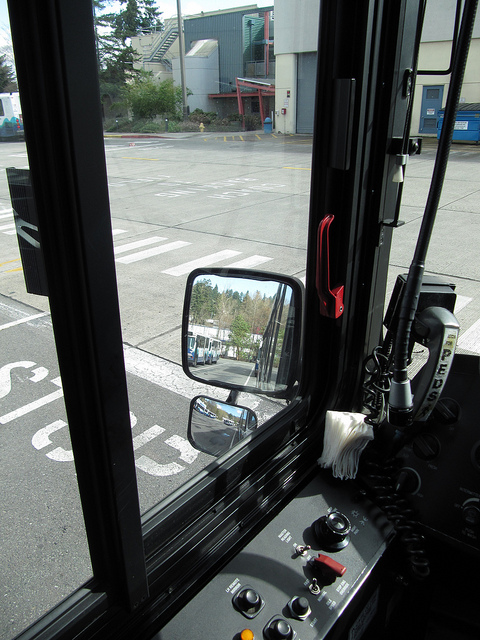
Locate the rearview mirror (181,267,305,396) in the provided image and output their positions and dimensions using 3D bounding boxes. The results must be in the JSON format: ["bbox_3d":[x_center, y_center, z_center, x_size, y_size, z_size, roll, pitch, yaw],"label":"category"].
[{"bbox_3d":[-0.001,0.029,1.419,0.381,0.422,0.043,-5,23,-23],"label":"rearview mirror"}]

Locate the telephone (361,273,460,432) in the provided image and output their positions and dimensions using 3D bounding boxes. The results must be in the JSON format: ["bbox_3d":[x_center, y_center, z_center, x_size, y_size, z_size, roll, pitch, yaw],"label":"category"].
[{"bbox_3d":[0.619,0.188,1.724,0.305,0.664,0.499,8,26,16],"label":"telephone"}]
